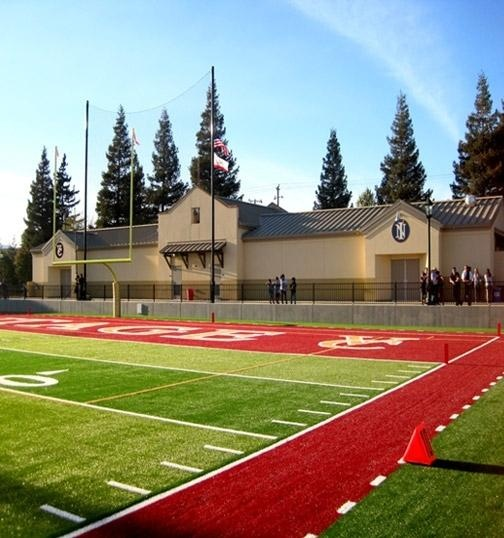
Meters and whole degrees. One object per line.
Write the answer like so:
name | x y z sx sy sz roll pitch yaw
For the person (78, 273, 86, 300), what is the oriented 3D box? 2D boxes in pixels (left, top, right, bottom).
person | -11.806 1.277 39.805 0.545 1.736 3.410 2 -2 -18
